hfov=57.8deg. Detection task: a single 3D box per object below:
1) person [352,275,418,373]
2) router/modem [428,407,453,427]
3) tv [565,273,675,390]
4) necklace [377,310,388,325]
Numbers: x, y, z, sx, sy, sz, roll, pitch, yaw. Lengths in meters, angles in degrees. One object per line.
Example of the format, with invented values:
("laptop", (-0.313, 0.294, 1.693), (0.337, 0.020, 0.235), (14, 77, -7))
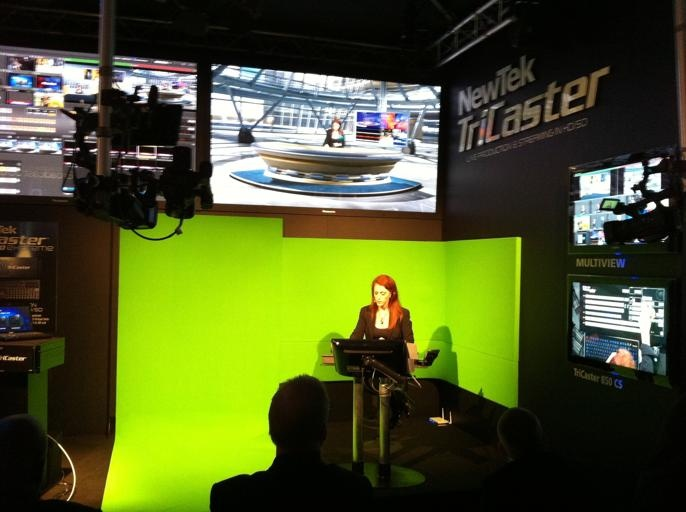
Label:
("person", (0.508, 0.641, 5.921), (0.796, 1.104, 0.647), (-1, -10, 11))
("router/modem", (1.004, 1.640, 6.281), (0.150, 0.089, 0.147), (-1, 3, -25))
("tv", (2.020, 0.542, 4.444), (0.073, 0.875, 0.938), (3, -2, -28))
("necklace", (0.369, 0.582, 5.781), (0.128, 0.119, 0.031), (0, -12, 22))
